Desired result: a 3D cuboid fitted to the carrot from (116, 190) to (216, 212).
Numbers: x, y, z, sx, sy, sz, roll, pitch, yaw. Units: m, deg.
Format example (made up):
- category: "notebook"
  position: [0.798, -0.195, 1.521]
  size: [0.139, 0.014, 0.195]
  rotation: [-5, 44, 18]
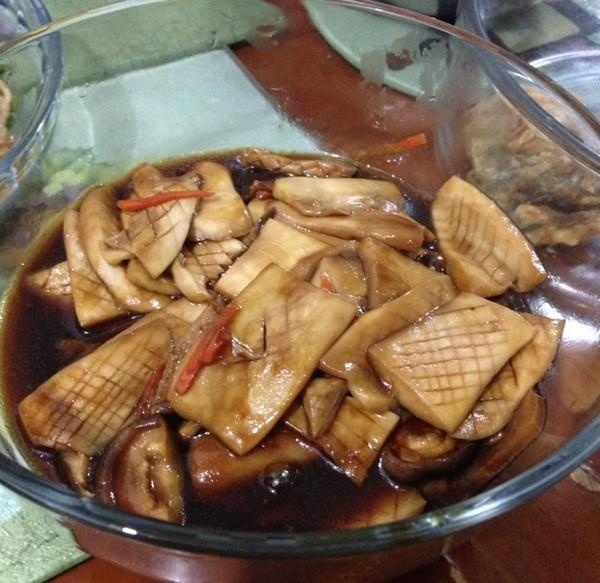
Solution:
- category: "carrot"
  position: [-0.262, -0.183, 1.440]
  size: [0.176, 0.024, 0.026]
  rotation: [-10, 40, -8]
